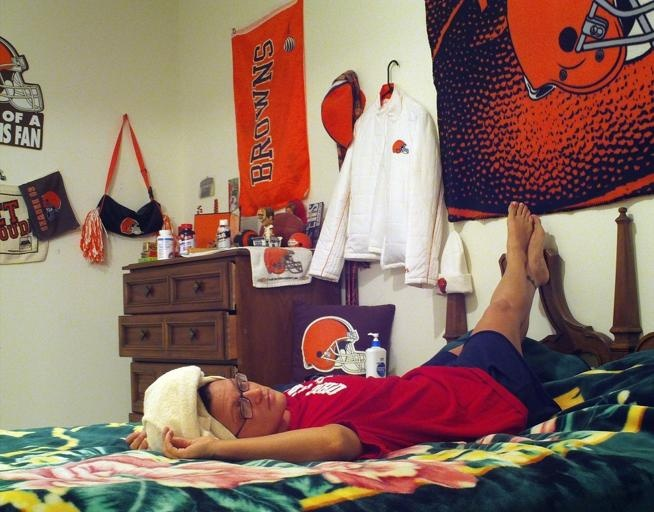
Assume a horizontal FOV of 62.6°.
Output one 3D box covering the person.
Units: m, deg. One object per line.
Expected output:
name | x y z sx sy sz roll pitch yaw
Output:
person | 0.195 0.223 1.737 1.264 0.685 0.548 -4 -4 -14

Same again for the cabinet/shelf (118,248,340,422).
cabinet/shelf | -0.587 0.278 3.080 1.203 1.251 0.854 -4 -5 43
